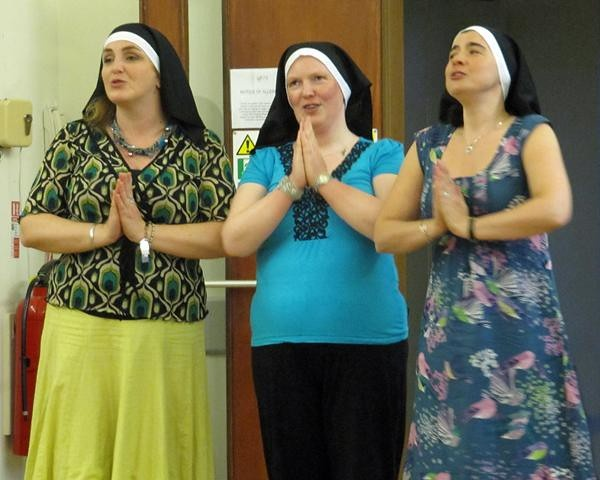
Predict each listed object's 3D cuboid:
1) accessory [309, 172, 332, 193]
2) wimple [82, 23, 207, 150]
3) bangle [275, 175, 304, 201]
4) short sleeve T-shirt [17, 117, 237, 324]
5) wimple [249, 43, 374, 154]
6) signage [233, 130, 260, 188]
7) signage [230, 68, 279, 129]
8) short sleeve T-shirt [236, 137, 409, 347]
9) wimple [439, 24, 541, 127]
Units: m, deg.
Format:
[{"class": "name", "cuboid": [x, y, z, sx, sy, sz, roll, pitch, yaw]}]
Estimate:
[{"class": "accessory", "cuboid": [0.071, -0.211, 2.579, 0.045, 0.065, 0.063, 32, 29, 14]}, {"class": "wimple", "cuboid": [-0.602, -0.567, 3.003, 0.421, 0.539, 0.463, -6, -1, 14]}, {"class": "bangle", "cuboid": [-0.039, -0.179, 2.559, 0.034, 0.082, 0.072, -42, -13, 16]}, {"class": "short sleeve T-shirt", "cuboid": [-0.652, -0.064, 2.807, 0.726, 0.860, 0.414, 4, -18, -8]}, {"class": "wimple", "cuboid": [0.063, -0.555, 2.820, 0.496, 0.594, 0.242, -1, -10, -2]}, {"class": "signage", "cuboid": [-0.264, -0.429, 3.614, 0.142, 0.290, 0.024, 2, -23, -9]}, {"class": "signage", "cuboid": [-0.237, -0.719, 3.643, 0.238, 0.342, 0.039, -1, 37, -5]}, {"class": "short sleeve T-shirt", "cuboid": [0.085, 0.007, 2.776, 0.614, 0.907, 0.435, -3, -16, 13]}, {"class": "wimple", "cuboid": [0.664, -0.608, 2.543, 0.310, 0.357, 0.328, 13, 8, 39]}]
